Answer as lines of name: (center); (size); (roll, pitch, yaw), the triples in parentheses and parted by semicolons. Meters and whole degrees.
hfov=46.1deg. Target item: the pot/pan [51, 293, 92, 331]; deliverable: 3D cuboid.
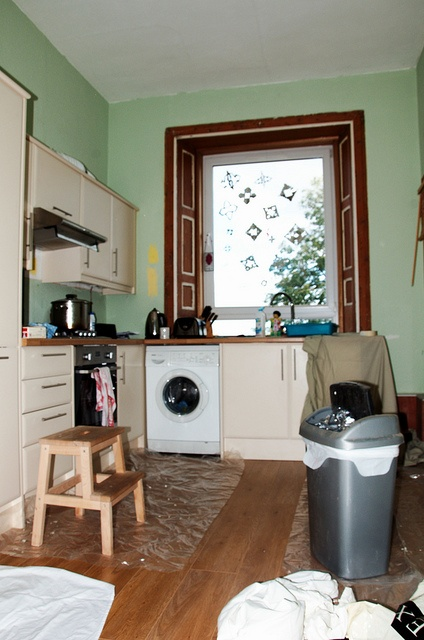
pot/pan: (-0.823, -0.037, 2.919); (0.203, 0.203, 0.208); (0, -4, -8)

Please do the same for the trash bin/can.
trash bin/can: (0.455, 0.539, 1.738); (0.245, 0.628, 0.363); (0, -1, -23)

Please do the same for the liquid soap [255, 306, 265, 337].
liquid soap: (0.344, 0.023, 3.571); (0.058, 0.186, 0.155); (0, -1, 4)

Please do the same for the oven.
oven: (-0.636, 0.362, 2.666); (0.237, 0.463, 0.470); (-1, -1, 6)

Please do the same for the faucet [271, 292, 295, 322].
faucet: (0.552, -0.106, 3.842); (0.163, 0.231, 0.307); (-1, -1, 9)

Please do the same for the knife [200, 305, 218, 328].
knife: (-0.035, -0.032, 3.800); (0.038, 0.147, 0.112); (-1, 2, 41)

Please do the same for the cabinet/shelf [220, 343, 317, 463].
cabinet/shelf: (0.377, 0.473, 3.378); (0.572, 0.778, 0.449); (1, 12, 21)

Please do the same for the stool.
stool: (-0.498, 0.676, 2.057); (0.345, 0.409, 0.418); (1, -4, 7)

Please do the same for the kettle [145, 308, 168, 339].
kettle: (-0.408, 0.031, 3.636); (0.163, 0.209, 0.219); (0, -1, -7)
